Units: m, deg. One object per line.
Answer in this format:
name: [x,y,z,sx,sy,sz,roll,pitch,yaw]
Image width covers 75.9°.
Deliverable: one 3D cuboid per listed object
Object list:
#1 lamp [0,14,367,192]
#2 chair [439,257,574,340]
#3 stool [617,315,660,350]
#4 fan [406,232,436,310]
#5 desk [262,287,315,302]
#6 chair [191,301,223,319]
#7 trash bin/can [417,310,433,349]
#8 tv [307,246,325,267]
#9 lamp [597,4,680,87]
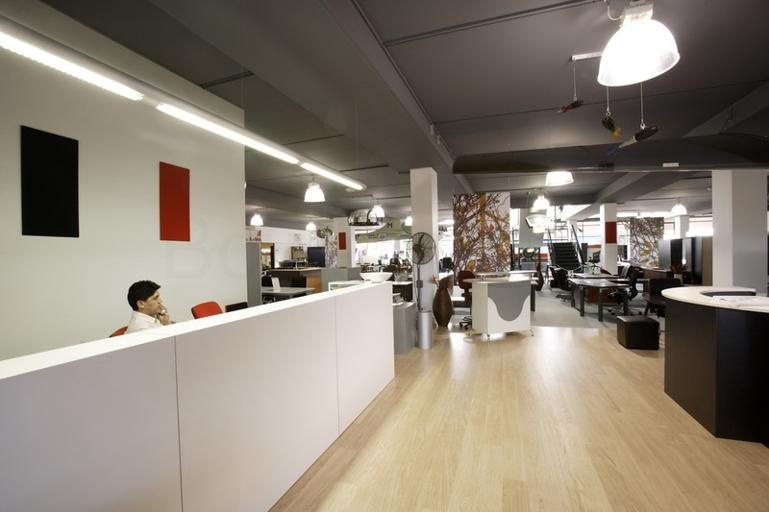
lamp: [-1.993,-1.561,5.361,0.406,1.074,3.374,5,8,45]
chair: [2.054,0.778,9.184,1.330,1.132,2.288,0,5,9]
stool: [3.976,1.240,7.816,0.659,0.430,0.677,-1,-2,37]
fan: [0.747,0.290,9.186,0.464,1.463,0.907,0,6,5]
desk: [-1.923,0.753,9.564,0.842,0.278,0.807,2,6,27]
chair: [-2.158,0.662,5.976,0.234,0.202,0.176,12,9,32]
trash bin/can: [0.657,1.184,7.907,0.208,0.612,0.205,-1,6,0]
tv: [-2.708,0.042,19.541,0.264,0.792,0.838,-3,-2,25]
lamp: [2.431,-1.898,4.812,0.749,0.809,0.744,2,7,30]
